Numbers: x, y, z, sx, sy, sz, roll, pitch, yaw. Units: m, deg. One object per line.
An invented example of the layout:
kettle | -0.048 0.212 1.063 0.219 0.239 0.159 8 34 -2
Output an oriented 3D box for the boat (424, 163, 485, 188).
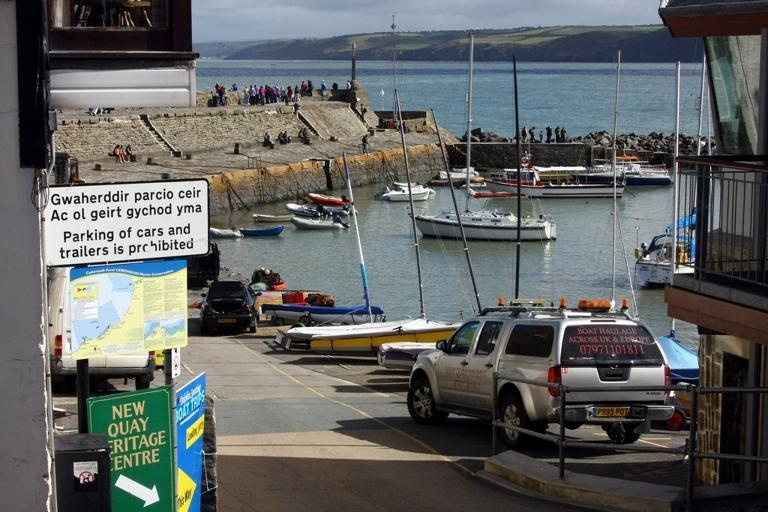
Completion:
boat | 5.814 -6.436 95.217 5.797 1.717 5.537 0 5 0

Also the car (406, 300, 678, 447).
car | 2.535 1.853 20.057 2.108 1.726 4.293 2 2 -30

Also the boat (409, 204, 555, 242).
boat | 5.936 -1.606 67.919 7.707 1.715 2.981 2 2 17

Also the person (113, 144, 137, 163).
person | -16.400 -6.339 73.640 1.060 0.986 2.087 -1 1 11

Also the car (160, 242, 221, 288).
car | -7.102 -0.073 44.272 2.505 1.716 3.722 0 12 1
